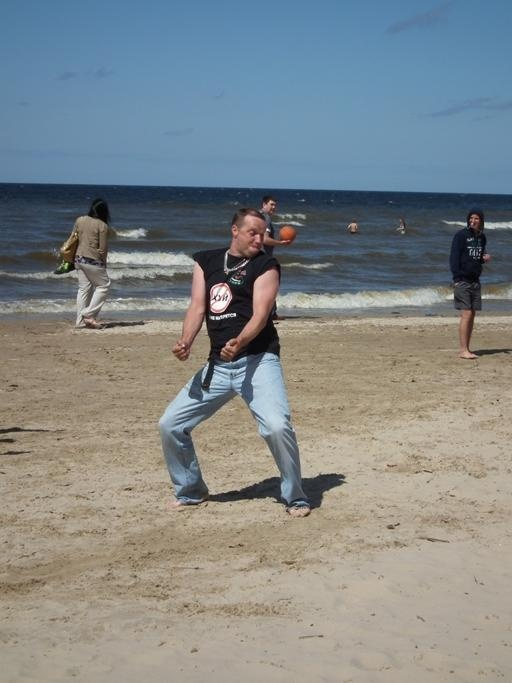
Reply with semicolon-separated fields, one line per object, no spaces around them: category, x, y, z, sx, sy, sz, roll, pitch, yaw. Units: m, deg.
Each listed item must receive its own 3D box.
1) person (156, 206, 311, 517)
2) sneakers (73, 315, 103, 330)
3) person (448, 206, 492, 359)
person;-0.149;0.146;4.136;0.809;1.734;0.683;7;15;32
sneakers;-2.572;-0.267;11.526;0.479;0.143;0.175;0;4;22
person;2.530;-0.682;8.892;0.437;1.754;1.302;3;13;16
